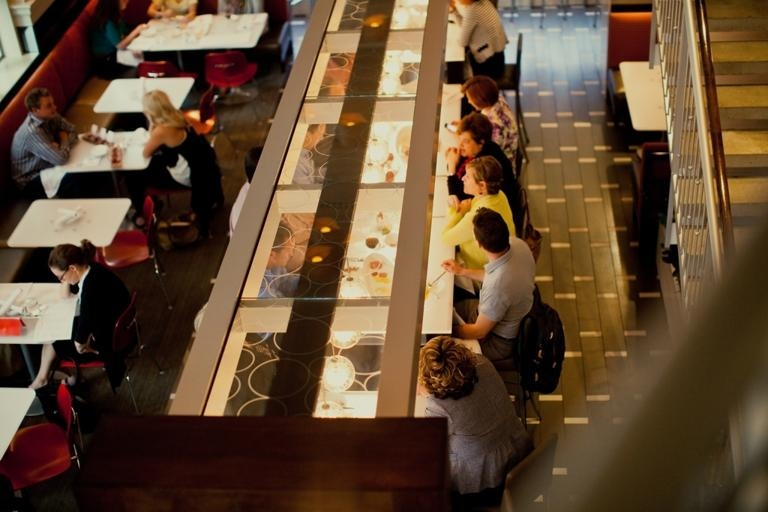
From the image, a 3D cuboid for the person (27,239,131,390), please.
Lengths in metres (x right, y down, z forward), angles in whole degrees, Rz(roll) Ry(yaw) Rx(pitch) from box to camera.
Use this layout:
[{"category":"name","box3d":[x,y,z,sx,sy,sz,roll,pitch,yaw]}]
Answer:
[{"category":"person","box3d":[-2.157,0.455,4.569,0.689,0.955,0.489,16,38,-9]}]

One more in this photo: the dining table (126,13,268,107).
[{"category":"dining table","box3d":[-2.053,-2.238,7.822,1.158,0.583,0.690,3,52,4]}]

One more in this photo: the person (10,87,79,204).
[{"category":"person","box3d":[-3.130,-1.028,6.022,0.653,1.031,0.630,-8,39,-31]}]

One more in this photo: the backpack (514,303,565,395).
[{"category":"backpack","box3d":[0.933,0.565,3.915,0.290,0.553,0.449,3,44,7]}]
